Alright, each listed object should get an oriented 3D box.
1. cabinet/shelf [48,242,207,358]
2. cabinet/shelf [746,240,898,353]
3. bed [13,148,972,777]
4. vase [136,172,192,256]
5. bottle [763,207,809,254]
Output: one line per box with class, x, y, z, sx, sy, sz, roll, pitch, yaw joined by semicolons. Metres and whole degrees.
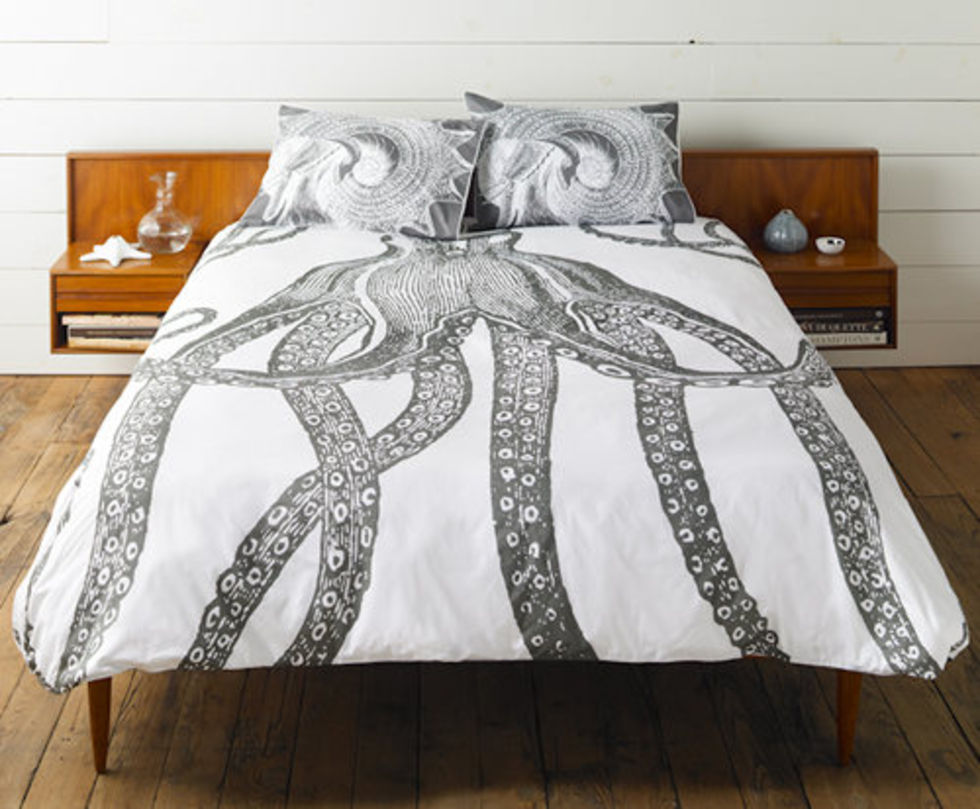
cabinet/shelf;-1.328;-0.357;3.030;0.469;0.285;0.334;-1;20;-2
cabinet/shelf;1.257;-0.377;3.063;0.497;0.286;0.347;-1;23;4
bed;0.179;-0.256;3.201;1.714;0.835;2.394;-25;19;-31
vase;-1.182;-0.680;2.996;0.196;0.285;0.195;19;26;21
bottle;1.095;-0.645;3.081;0.164;0.154;0.164;3;23;15
